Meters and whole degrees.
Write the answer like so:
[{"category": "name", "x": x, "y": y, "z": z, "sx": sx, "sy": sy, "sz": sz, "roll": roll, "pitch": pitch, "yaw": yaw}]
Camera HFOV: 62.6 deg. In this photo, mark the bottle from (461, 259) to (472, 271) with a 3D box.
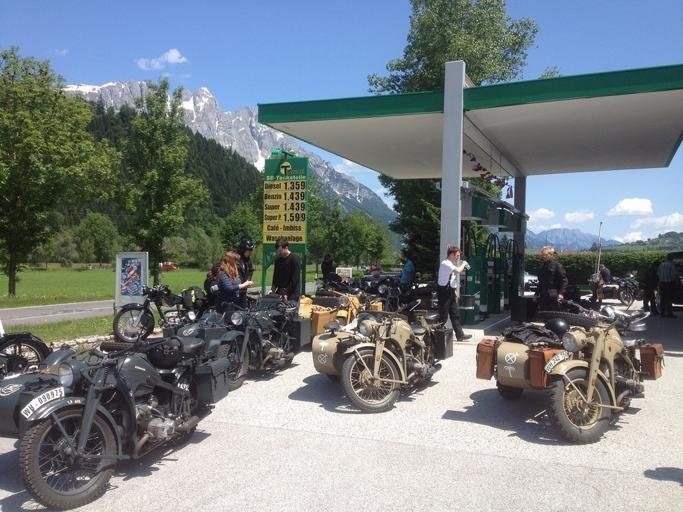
[{"category": "bottle", "x": 2.945, "y": 0.222, "z": 13.320, "sx": 0.053, "sy": 0.247, "sz": 0.241, "roll": 8, "pitch": -14, "yaw": -5}]
